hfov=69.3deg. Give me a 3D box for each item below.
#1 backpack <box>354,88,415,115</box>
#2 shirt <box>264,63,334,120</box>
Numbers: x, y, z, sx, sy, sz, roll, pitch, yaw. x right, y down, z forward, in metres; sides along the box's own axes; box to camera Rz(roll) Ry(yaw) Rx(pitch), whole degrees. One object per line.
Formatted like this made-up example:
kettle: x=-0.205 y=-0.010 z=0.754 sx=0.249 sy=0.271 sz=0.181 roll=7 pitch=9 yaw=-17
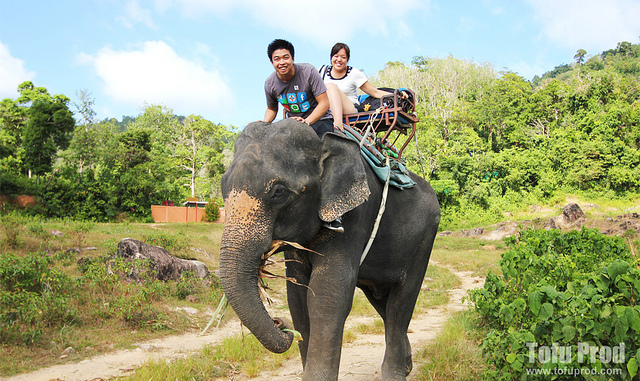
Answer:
backpack: x=1.382 y=-1.862 z=9.783 sx=0.921 sy=0.403 sz=0.711 roll=2 pitch=7 yaw=32
shirt: x=-0.449 y=-1.928 z=9.316 sx=1.329 sy=1.267 sz=0.740 roll=0 pitch=36 yaw=23
